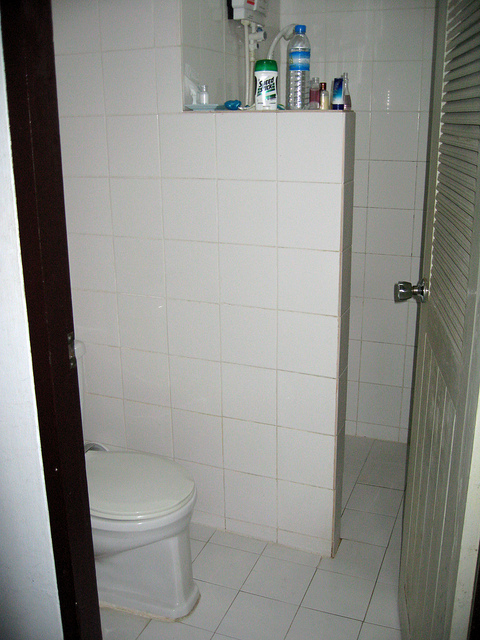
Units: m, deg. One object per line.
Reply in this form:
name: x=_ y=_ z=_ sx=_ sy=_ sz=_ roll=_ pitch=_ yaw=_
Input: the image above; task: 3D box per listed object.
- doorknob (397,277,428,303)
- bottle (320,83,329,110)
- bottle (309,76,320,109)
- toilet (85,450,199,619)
doorknob: x=0.435 y=-0.071 z=1.377 sx=0.047 sy=0.087 sz=0.032 roll=0 pitch=5 yaw=2
bottle: x=0.272 y=-0.723 z=1.753 sx=0.029 sy=0.094 sz=0.101 roll=1 pitch=12 yaw=9
bottle: x=0.245 y=-0.747 z=1.789 sx=0.032 sy=0.113 sz=0.118 roll=0 pitch=12 yaw=8
toilet: x=-0.297 y=0.731 z=1.896 sx=0.466 sy=0.543 sz=0.358 roll=2 pitch=8 yaw=17
